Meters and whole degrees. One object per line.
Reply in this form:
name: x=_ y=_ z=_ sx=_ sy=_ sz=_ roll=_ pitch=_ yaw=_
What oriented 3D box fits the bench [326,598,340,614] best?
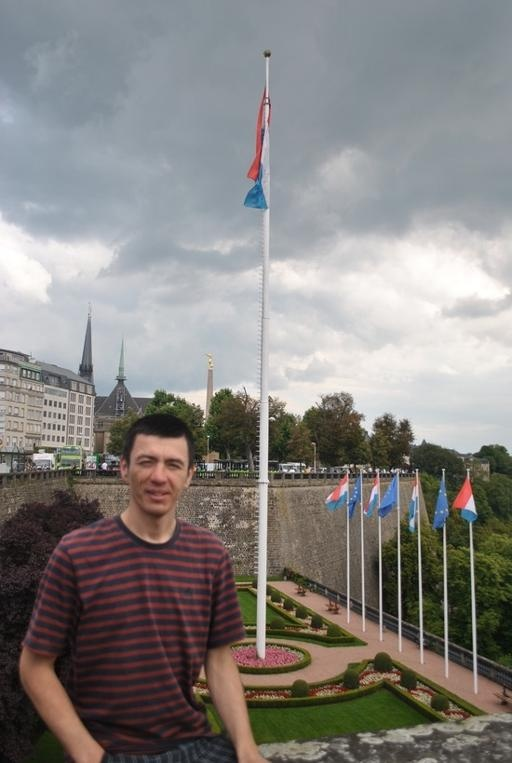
bench: x=3.877 y=11.052 z=34.039 sx=0.708 sy=0.785 sz=0.752 roll=10 pitch=-18 yaw=-9

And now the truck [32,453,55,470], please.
truck: x=-17.066 y=6.190 z=55.410 sx=1.775 sy=1.868 sz=3.205 roll=-1 pitch=-10 yaw=-10
